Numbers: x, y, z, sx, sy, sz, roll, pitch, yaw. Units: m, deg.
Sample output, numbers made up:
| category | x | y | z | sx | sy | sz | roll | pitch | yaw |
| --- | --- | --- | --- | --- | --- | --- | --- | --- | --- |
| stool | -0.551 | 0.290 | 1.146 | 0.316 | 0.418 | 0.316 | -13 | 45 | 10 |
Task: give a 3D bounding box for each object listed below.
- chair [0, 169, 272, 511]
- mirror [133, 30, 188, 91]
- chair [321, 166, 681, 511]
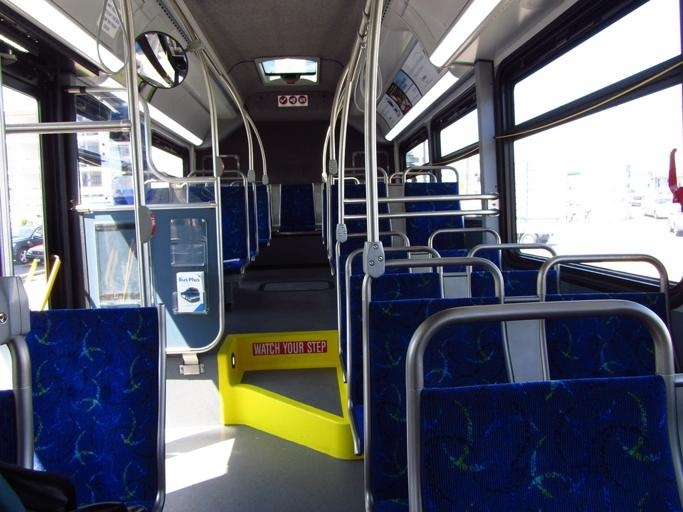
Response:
| category | x | y | z | sx | sy | sz | roll | pitch | yaw |
| --- | --- | --- | --- | --- | --- | --- | --- | --- | --- |
| chair | -0.847 | 0.489 | 2.496 | 0.731 | 1.459 | 0.774 | 0 | -4 | -7 |
| mirror | -1.071 | -1.170 | 3.114 | 0.271 | 0.323 | 0.304 | -7 | 16 | -21 |
| chair | 0.416 | 0.444 | 1.715 | 0.880 | 0.632 | 0.938 | 0 | 7 | -3 |
